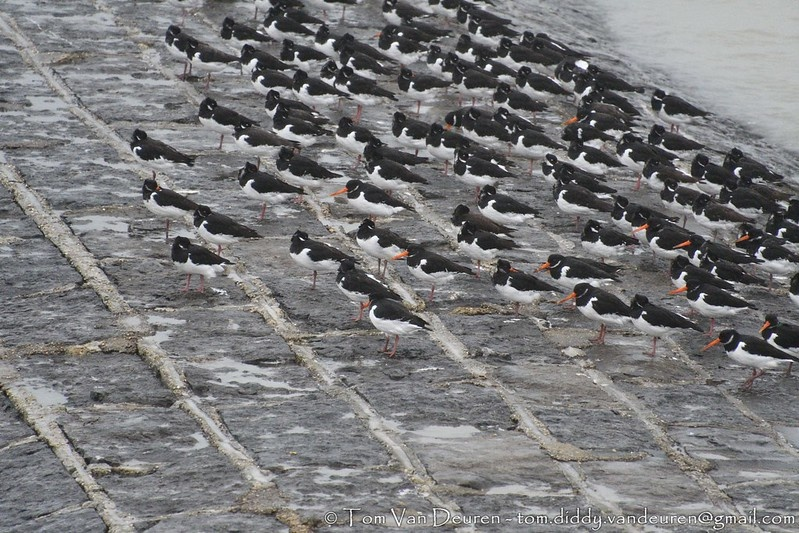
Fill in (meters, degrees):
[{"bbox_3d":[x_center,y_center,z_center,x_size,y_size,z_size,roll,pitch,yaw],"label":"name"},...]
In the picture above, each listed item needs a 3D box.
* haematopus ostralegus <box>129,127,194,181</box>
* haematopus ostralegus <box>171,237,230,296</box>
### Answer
[{"bbox_3d":[-4.719,-2.223,22.251,1.333,0.941,0.953,11,28,-9],"label":"haematopus ostralegus"},{"bbox_3d":[-3.451,-0.061,19.156,1.018,0.854,0.787,16,28,-2],"label":"haematopus ostralegus"}]
